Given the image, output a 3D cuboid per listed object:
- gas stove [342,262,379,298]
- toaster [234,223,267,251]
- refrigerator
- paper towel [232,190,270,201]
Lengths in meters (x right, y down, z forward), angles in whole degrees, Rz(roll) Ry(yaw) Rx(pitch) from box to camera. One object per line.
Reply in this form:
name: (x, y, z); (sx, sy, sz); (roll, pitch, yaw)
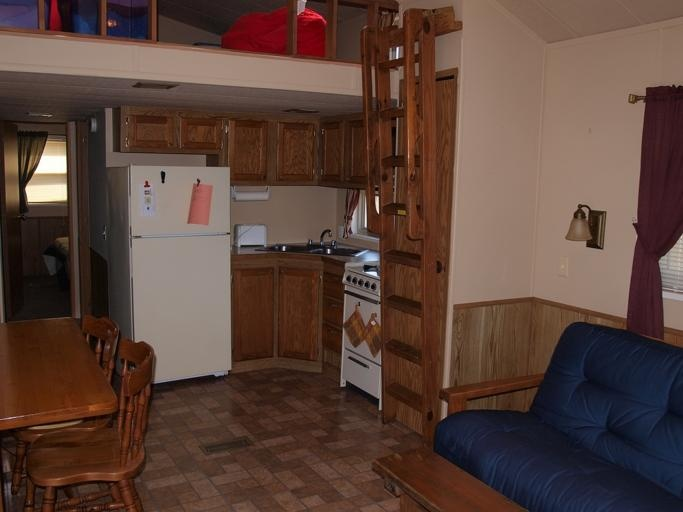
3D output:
gas stove: (0.187, 0.201, 4.663); (0.264, 0.257, 0.387); (0, 5, -29)
toaster: (-0.975, -0.220, 5.754); (0.393, 0.305, 0.238); (-3, 5, -32)
refrigerator: (-1.478, 0.165, 4.916); (0.907, 1.960, 0.298); (-2, 11, -15)
paper towel: (-0.970, -0.652, 5.788); (0.397, 0.115, 0.258); (-1, 11, -12)
